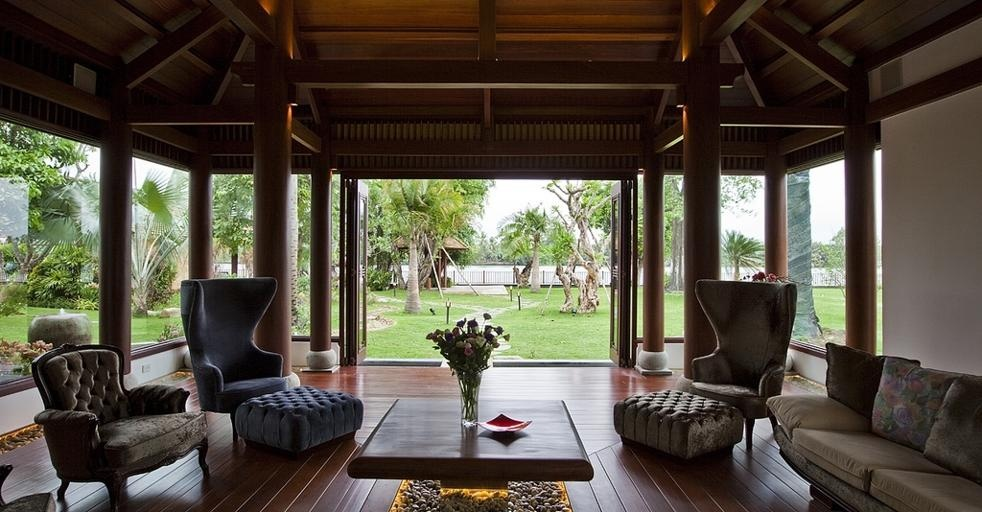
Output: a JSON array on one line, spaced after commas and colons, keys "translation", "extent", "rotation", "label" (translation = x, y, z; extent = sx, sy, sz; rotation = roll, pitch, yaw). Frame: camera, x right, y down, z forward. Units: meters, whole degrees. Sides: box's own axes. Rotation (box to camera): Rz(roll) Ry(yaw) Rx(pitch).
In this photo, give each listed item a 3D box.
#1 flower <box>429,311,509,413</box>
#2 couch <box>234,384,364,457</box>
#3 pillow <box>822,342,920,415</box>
[{"translation": [-0.268, 1.301, 7.490], "extent": [1.277, 1.221, 1.171], "rotation": [-1, -3, -4], "label": "flower"}, {"translation": [-2.558, 2.133, 7.629], "extent": [1.504, 0.720, 0.722], "rotation": [0, -1, 13], "label": "couch"}, {"translation": [4.506, 1.444, 7.178], "extent": [0.896, 0.804, 0.388], "rotation": [15, 6, 38], "label": "pillow"}]
